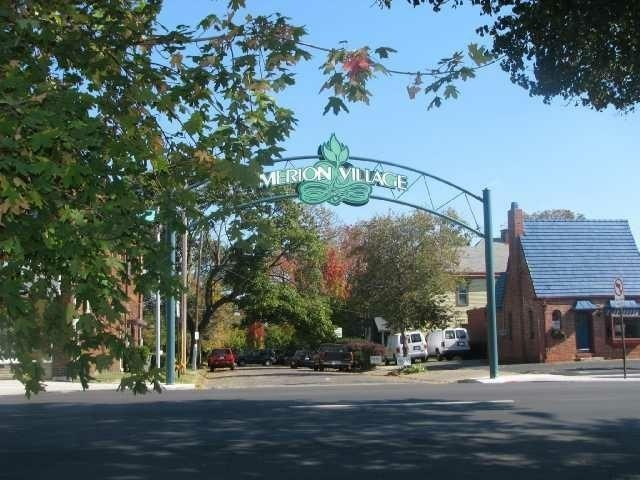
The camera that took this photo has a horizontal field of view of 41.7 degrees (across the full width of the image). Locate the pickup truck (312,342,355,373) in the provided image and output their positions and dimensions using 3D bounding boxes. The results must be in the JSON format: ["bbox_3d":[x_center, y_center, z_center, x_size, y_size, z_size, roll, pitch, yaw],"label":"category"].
[{"bbox_3d":[0.873,6.483,46.691,1.885,1.501,3.435,4,-5,-16],"label":"pickup truck"}]

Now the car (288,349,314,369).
[{"bbox_3d":[-1.134,7.814,55.561,1.387,1.072,1.735,3,-5,0],"label":"car"}]

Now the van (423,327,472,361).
[{"bbox_3d":[6.874,5.509,45.373,1.327,1.314,2.259,0,-2,-12],"label":"van"}]

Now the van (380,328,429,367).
[{"bbox_3d":[4.752,5.617,44.902,1.325,1.200,2.856,0,-2,-8],"label":"van"}]

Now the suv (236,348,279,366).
[{"bbox_3d":[-4.729,9.032,64.921,2.431,1.247,1.571,4,-8,1],"label":"suv"}]
